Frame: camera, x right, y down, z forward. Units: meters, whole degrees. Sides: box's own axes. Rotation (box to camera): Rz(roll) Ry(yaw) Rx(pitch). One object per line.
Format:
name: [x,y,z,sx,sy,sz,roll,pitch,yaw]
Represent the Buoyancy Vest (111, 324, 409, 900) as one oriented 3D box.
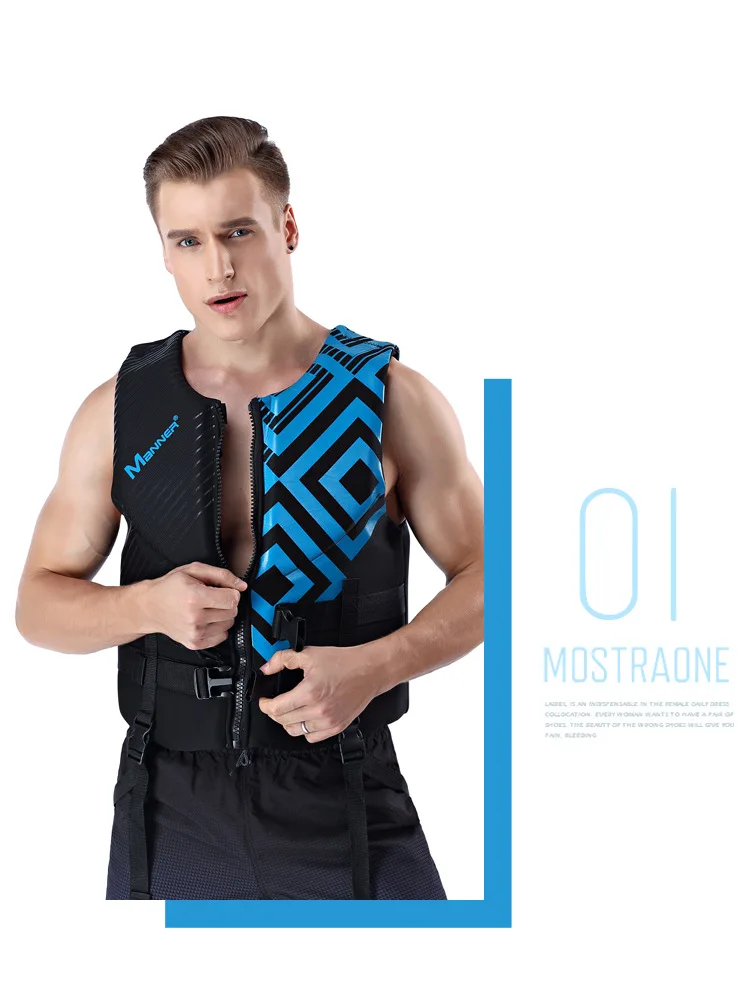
Buoyancy Vest: [-0.259,0.224,1.995,0.724,1.127,0.292,-7,0,12]
